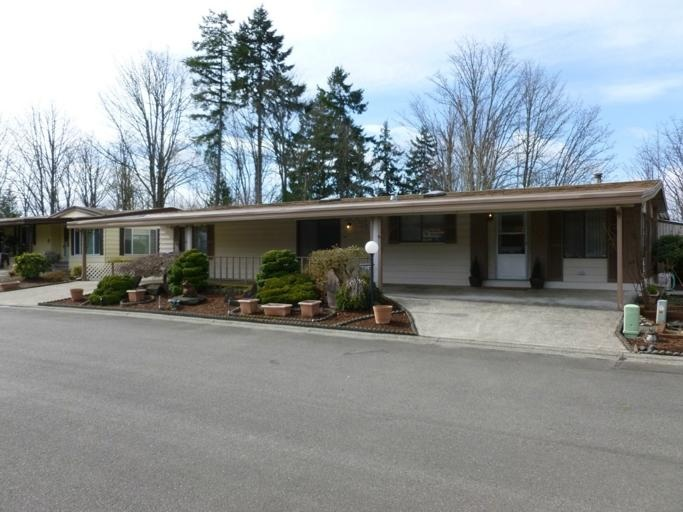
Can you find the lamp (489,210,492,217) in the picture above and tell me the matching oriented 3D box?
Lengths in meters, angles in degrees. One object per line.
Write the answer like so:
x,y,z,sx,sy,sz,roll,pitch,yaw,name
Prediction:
4.570,-1.270,17.506,0.111,0.318,0.120,1,4,16,lamp
